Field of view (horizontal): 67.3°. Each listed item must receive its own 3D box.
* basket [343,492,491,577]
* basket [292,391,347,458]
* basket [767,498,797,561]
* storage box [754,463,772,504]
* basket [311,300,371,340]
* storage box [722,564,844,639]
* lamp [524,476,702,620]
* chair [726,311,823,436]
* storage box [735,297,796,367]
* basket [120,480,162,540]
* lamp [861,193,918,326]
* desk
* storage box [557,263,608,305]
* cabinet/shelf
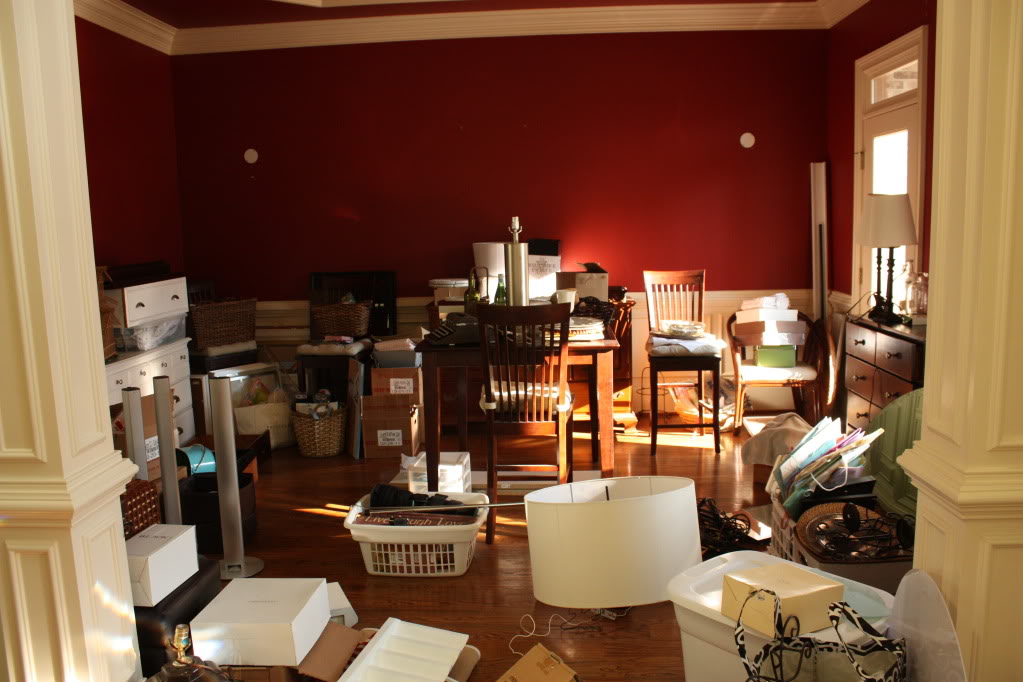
[{"bbox_3d":[-0.512,1.060,4.197,0.752,0.322,0.421,-2,14,1],"label":"basket"},{"bbox_3d":[-1.565,0.671,6.010,0.386,0.442,0.463,-1,-15,-18],"label":"basket"},{"bbox_3d":[1.293,0.916,3.666,0.194,0.211,0.183,1,2,13],"label":"basket"},{"bbox_3d":[1.533,0.866,4.708,0.103,0.265,0.118,2,14,17],"label":"storage box"},{"bbox_3d":[-1.428,-0.165,6.442,0.415,0.218,0.278,-2,-1,3],"label":"basket"},{"bbox_3d":[0.936,0.892,2.662,0.376,0.153,0.245,-8,15,-22],"label":"storage box"},{"bbox_3d":[0.384,0.777,3.064,0.611,0.351,0.621,-6,-2,0],"label":"lamp"},{"bbox_3d":[2.030,0.220,6.035,0.737,0.973,0.718,-2,7,-2],"label":"chair"},{"bbox_3d":[1.949,-0.112,6.095,0.465,0.650,0.661,-2,4,6],"label":"storage box"},{"bbox_3d":[-1.660,0.755,3.452,0.110,0.306,0.430,-7,15,-19],"label":"basket"},{"bbox_3d":[2.477,-0.552,5.071,0.316,0.823,0.577,4,15,25],"label":"lamp"},{"bbox_3d":[0.043,0.422,4.996,1.225,0.922,1.065,-3,5,-10],"label":"desk"},{"bbox_3d":[0.554,-0.424,5.927,0.455,0.472,0.253,0,-4,5],"label":"storage box"},{"bbox_3d":[2.247,0.181,4.592,0.360,0.752,0.745,-1,5,-1],"label":"cabinet/shelf"}]
